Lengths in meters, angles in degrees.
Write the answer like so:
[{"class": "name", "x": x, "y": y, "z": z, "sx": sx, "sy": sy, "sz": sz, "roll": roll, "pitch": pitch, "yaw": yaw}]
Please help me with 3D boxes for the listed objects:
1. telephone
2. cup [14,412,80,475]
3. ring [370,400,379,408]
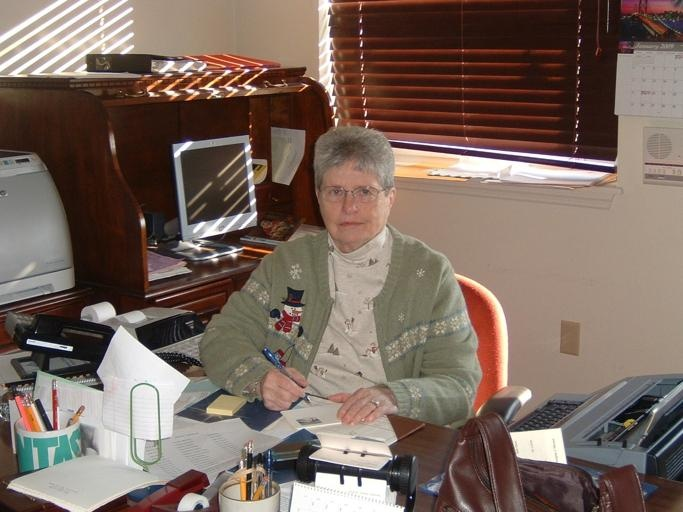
[{"class": "telephone", "x": -0.704, "y": 0.194, "z": 1.372, "sx": 0.249, "sy": 0.093, "sz": 0.164, "roll": -1, "pitch": 0, "yaw": -1}, {"class": "cup", "x": -0.529, "y": 0.337, "z": 1.051, "sx": 0.109, "sy": 0.100, "sz": 0.099, "roll": 1, "pitch": 7, "yaw": 0}, {"class": "ring", "x": 0.076, "y": 0.335, "z": 1.259, "sx": 0.016, "sy": 0.005, "sz": 0.015, "roll": 27, "pitch": -10, "yaw": 5}]
